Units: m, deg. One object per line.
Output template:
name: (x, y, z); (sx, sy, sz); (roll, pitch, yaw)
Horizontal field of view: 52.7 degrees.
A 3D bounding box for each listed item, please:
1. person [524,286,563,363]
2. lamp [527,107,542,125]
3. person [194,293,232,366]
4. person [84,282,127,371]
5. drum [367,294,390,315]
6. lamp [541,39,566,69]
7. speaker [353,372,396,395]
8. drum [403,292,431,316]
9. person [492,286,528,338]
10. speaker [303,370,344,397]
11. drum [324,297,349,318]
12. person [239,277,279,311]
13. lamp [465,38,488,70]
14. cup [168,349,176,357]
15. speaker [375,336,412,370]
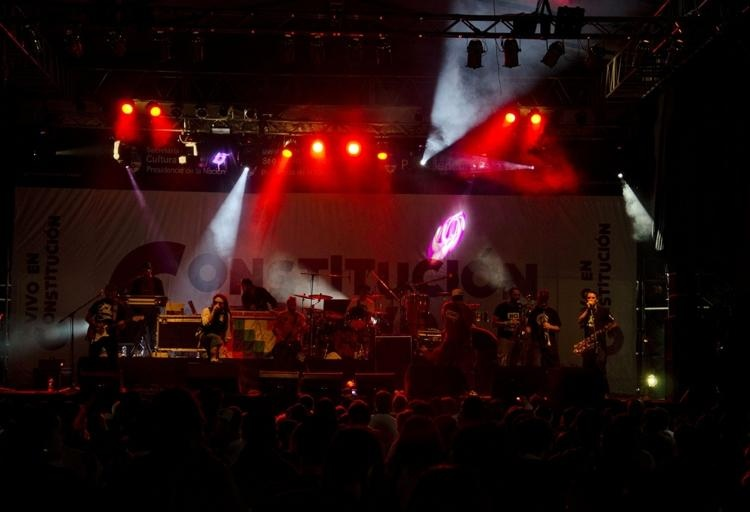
person: (3.315, 1.443, 14.954); (0.598, 1.455, 2.766); (1, -8, 13)
lamp: (3.455, -2.990, 16.403); (0.299, 0.501, 0.328); (2, -3, -3)
person: (-3.291, 1.544, 15.391); (0.789, 1.635, 0.994); (5, -37, -16)
person: (-5.305, 1.293, 14.999); (0.738, 1.362, 0.652); (8, -9, -31)
drum: (0.068, 1.111, 16.907); (0.441, 0.461, 0.490); (-3, 16, -5)
lamp: (3.375, -3.873, 14.314); (0.354, 0.540, 0.360); (-3, -10, 34)
speaker: (0.001, 2.117, 12.595); (0.589, 0.322, 0.398); (0, -5, -2)
drum: (0.867, 1.029, 15.949); (0.702, 0.542, 0.386); (3, -10, -14)
person: (2.696, 1.154, 15.183); (0.625, 1.062, 0.618); (2, -8, 8)
speaker: (-0.808, 1.962, 11.585); (0.527, 0.331, 0.353); (3, -8, -4)
drum: (-0.837, 1.130, 16.320); (0.557, 0.430, 0.491); (3, -8, -3)
person: (-2.633, 0.911, 17.106); (0.995, 0.723, 0.802); (-5, -11, 44)
lamp: (1.914, -3.846, 14.302); (0.294, 0.568, 0.444); (1, -8, 14)
cup: (-4.254, 2.026, 15.816); (0.168, 0.123, 0.485); (5, -8, -15)
speaker: (0.334, 1.791, 13.998); (0.619, 0.611, 0.604); (1, -11, -4)
